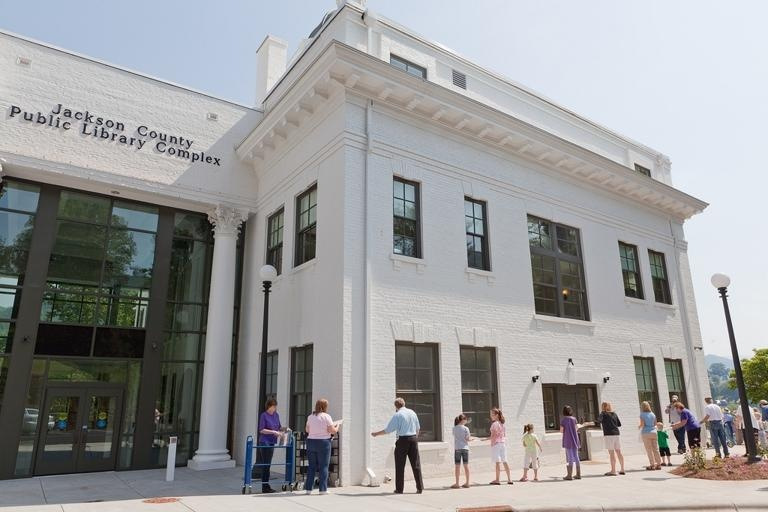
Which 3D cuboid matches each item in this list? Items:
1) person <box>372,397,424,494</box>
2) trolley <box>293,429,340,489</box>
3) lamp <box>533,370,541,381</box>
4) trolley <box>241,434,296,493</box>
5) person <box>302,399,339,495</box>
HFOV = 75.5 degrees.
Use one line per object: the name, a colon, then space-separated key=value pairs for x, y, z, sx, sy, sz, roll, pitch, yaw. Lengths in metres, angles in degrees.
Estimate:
person: x=0.519 y=5.551 z=14.743 sx=1.145 sy=2.693 sz=1.444 roll=-7 pitch=-21 yaw=18
trolley: x=-1.939 y=6.333 z=15.574 sx=1.758 sy=2.029 sz=1.556 roll=5 pitch=-15 yaw=-21
lamp: x=5.714 y=4.486 z=18.599 sx=0.348 sy=0.442 sz=0.112 roll=12 pitch=-23 yaw=-31
trolley: x=-3.404 y=6.317 z=14.925 sx=1.531 sy=1.634 sz=0.889 roll=4 pitch=-20 yaw=-15
person: x=-1.776 y=5.482 z=14.365 sx=0.941 sy=2.557 sz=1.003 roll=2 pitch=-20 yaw=-6
